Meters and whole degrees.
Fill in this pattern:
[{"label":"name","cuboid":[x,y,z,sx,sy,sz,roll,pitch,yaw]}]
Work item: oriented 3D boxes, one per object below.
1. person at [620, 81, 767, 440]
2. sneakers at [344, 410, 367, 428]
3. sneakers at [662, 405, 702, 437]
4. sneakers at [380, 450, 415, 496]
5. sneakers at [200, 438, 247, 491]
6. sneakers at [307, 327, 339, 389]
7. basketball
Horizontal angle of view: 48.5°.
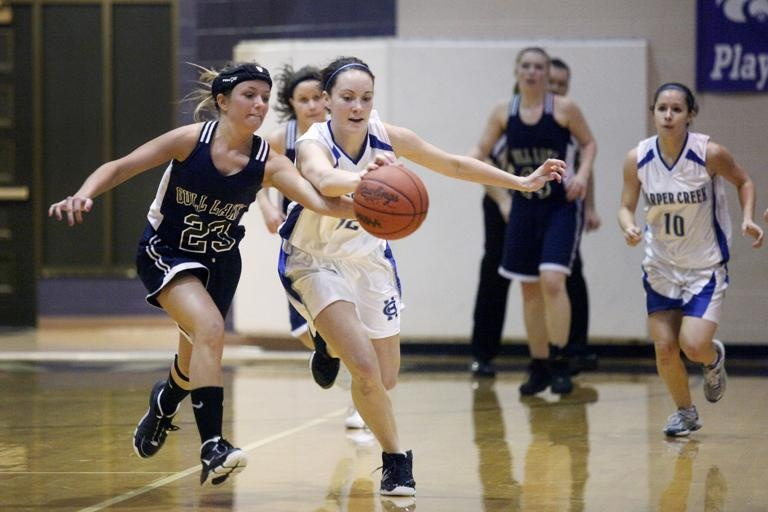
[{"label":"person","cuboid":[1.707,0.007,4.842,0.731,1.953,0.529,2,8,16]},{"label":"sneakers","cuboid":[-0.171,0.965,5.043,0.089,0.117,0.261,1,-13,-1]},{"label":"sneakers","cuboid":[1.684,0.940,4.819,0.110,0.117,0.261,-19,-15,38]},{"label":"sneakers","cuboid":[0.061,1.032,4.037,0.128,0.161,0.373,0,-14,-1]},{"label":"sneakers","cuboid":[-0.764,0.958,4.024,0.165,0.203,0.446,2,-26,-29]},{"label":"sneakers","cuboid":[-0.343,0.596,4.923,0.138,0.371,0.149,-13,23,-10]},{"label":"basketball","cuboid":[0.064,-0.231,4.062,0.346,0.391,0.346,8,14,25]}]
